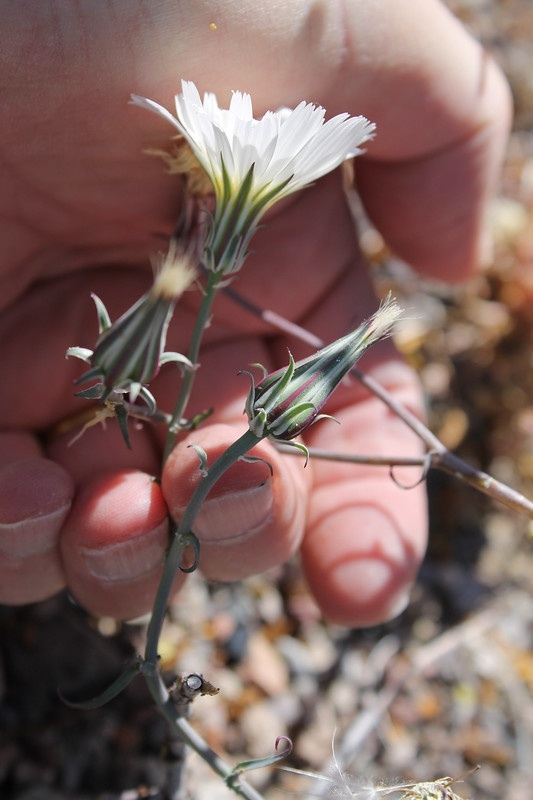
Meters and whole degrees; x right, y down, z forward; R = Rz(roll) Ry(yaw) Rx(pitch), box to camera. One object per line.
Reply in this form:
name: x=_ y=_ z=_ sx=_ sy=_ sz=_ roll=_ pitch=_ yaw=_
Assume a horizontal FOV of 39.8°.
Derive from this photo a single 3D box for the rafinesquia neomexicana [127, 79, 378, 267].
rafinesquia neomexicana: x=-0.010 y=-0.146 z=0.546 sx=0.137 sy=0.103 sz=0.148 roll=21 pitch=12 yaw=-15
